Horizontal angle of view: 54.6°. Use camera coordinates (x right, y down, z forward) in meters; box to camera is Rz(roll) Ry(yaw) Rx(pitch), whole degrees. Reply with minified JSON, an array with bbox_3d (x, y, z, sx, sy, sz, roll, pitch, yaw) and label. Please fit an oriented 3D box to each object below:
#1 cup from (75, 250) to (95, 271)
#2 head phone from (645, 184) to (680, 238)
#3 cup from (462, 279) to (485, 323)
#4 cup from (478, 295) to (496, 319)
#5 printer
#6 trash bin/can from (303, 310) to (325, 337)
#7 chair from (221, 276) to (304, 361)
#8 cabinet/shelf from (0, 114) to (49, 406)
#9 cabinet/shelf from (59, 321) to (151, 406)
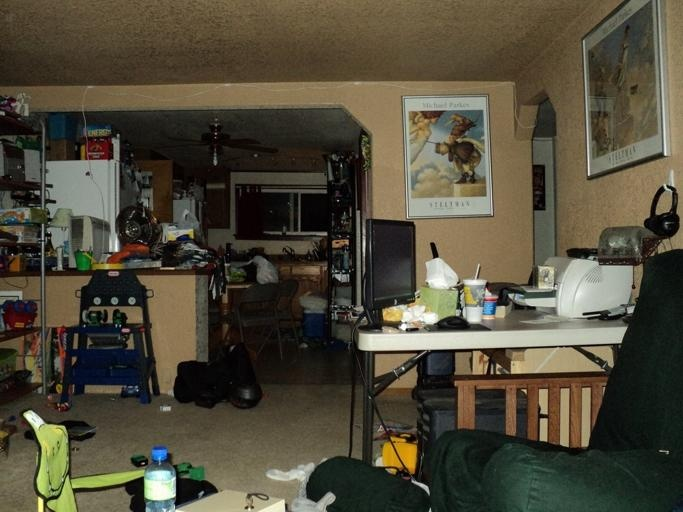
[{"bbox_3d":[-2.221,0.040,5.767,0.179,0.189,0.175,-2,-7,0],"label":"cup"},{"bbox_3d":[1.836,-0.256,3.782,0.178,0.318,0.413,0,2,27],"label":"head phone"},{"bbox_3d":[0.775,0.259,3.850,0.189,0.232,0.174,1,-3,0],"label":"cup"},{"bbox_3d":[0.866,0.297,3.864,0.118,0.124,0.124,5,-4,0],"label":"cup"},{"bbox_3d":[1.364,0.188,4.092,0.574,0.389,0.627,-2,-1,-11],"label":"printer"},{"bbox_3d":[-0.309,0.803,7.939,0.263,0.340,0.350,0,-4,4],"label":"trash bin/can"},{"bbox_3d":[-0.787,0.657,7.283,0.745,1.128,0.825,-3,7,-36],"label":"chair"},{"bbox_3d":[-2.606,-0.047,5.591,0.275,2.332,0.864,-2,2,-19],"label":"cabinet/shelf"},{"bbox_3d":[-1.888,0.862,5.415,0.743,0.562,0.628,-1,-2,-4],"label":"cabinet/shelf"}]
